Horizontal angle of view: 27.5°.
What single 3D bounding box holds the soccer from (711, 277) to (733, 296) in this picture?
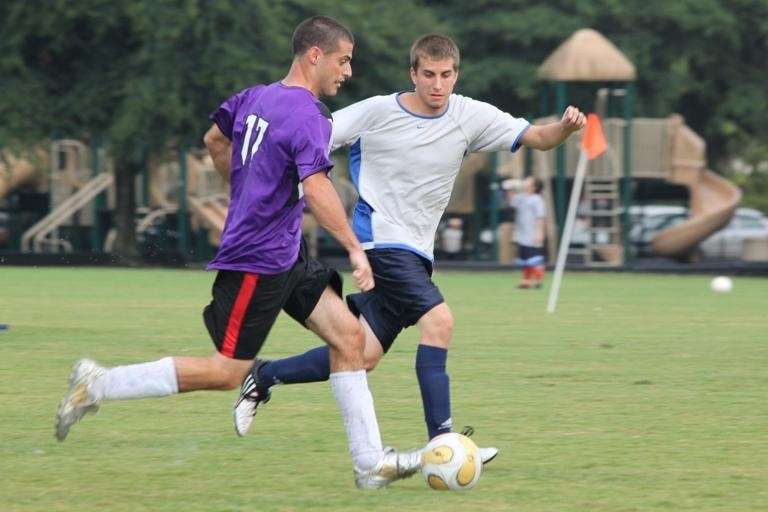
[{"bbox_3d":[5.274,0.470,24.529,0.297,0.196,0.480,2,4,8],"label":"soccer"}]
